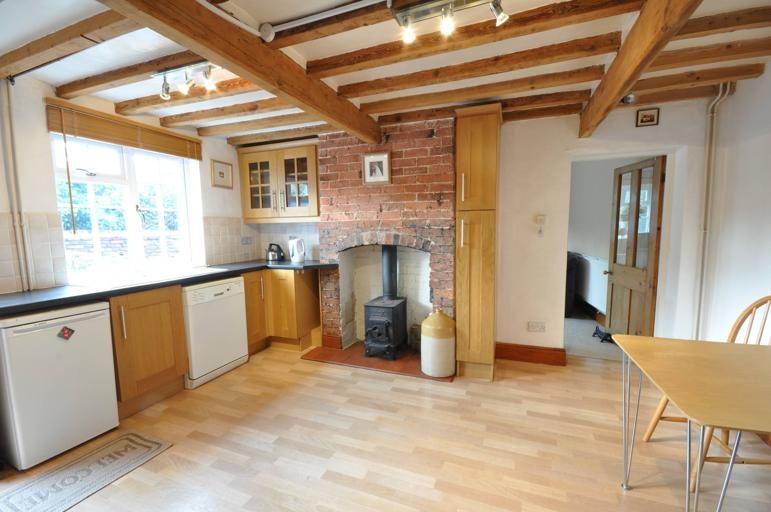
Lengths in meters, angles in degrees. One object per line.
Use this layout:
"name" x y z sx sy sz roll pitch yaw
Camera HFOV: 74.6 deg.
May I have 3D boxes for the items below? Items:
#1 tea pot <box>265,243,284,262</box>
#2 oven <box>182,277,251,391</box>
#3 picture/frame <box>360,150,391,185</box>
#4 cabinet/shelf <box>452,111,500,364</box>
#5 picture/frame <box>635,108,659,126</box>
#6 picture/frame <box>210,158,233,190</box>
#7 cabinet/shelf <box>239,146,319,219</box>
"tea pot" -1.383 -0.029 6.250 0.260 0.195 0.163 10 8 30
"oven" -2.067 0.765 5.505 0.716 1.075 0.888 4 11 20
"picture/frame" -0.110 -0.979 5.573 0.452 0.387 0.043 2 6 22
"cabinet/shelf" 0.812 -0.101 5.475 0.820 2.825 0.719 -1 9 5
"picture/frame" 2.661 -1.417 5.141 0.222 0.178 0.017 2 8 20
"picture/frame" -2.003 -0.981 6.067 0.041 0.360 0.468 0 0 24
"cabinet/shelf" -1.475 -0.868 6.305 0.476 0.922 1.229 8 14 38
